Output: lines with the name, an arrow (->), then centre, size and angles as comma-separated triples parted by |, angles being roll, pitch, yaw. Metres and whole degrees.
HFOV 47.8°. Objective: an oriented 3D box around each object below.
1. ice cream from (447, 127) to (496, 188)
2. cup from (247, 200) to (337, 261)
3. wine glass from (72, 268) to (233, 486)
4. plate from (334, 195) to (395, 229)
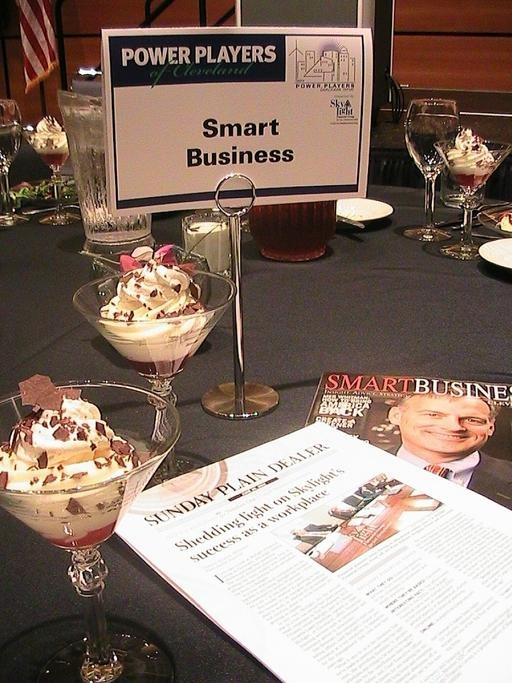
ice cream -> 0.420, -0.350, 1.129 | 0.094, 0.098, 0.107 | -15, 24, -42
cup -> 0.072, -0.246, 1.092 | 0.163, 0.147, 0.156 | -4, 35, 3
wine glass -> -0.078, -0.002, 0.648 | 0.198, 0.212, 0.189 | -16, 30, -29
plate -> 0.253, -0.299, 1.327 | 0.120, 0.024, 0.111 | -13, 37, -17
